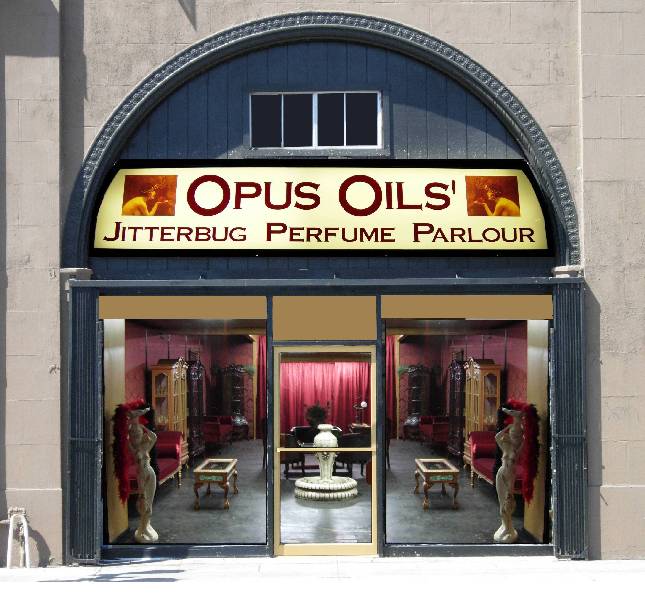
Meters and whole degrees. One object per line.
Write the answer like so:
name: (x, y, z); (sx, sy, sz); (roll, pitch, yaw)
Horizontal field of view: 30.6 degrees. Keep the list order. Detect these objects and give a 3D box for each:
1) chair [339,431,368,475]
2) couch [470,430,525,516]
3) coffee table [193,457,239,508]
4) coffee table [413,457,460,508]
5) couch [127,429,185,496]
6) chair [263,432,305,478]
chair: (0.417, 1.969, 16.567); (0.532, 0.614, 0.537); (0, -5, 5)
couch: (2.483, 2.360, 17.371); (0.665, 1.070, 1.381); (0, -4, -4)
coffee table: (-1.598, 2.520, 17.628); (0.615, 0.456, 0.944); (0, 6, 12)
coffee table: (1.670, 2.540, 17.732); (0.568, 0.461, 0.985); (1, 4, -4)
couch: (-2.428, 2.435, 17.640); (0.582, 0.835, 1.407); (-1, 2, -1)
chair: (-0.445, 2.037, 16.796); (0.634, 0.800, 0.624); (1, -3, 7)
